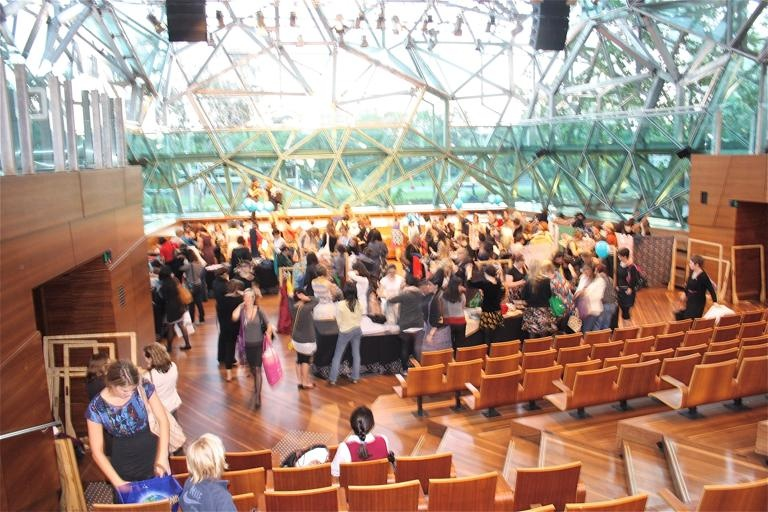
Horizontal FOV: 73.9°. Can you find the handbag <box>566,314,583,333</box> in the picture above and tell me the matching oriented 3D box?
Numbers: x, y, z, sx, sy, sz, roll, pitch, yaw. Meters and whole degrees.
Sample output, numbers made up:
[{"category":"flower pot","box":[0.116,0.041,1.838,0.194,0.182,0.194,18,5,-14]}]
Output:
[{"category":"handbag","box":[3.995,1.410,10.739,0.271,0.397,0.132,4,6,-4]}]

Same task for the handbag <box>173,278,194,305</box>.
[{"category":"handbag","box":[-4.831,0.848,12.265,0.289,0.713,0.337,-34,-3,15]}]

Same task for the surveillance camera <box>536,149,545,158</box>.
[{"category":"surveillance camera","box":[7.294,-4.771,23.876,0.191,0.382,0.539,-9,14,-30]}]

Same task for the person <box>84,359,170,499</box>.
[{"category":"person","box":[-2.943,1.889,5.865,0.813,1.442,0.642,-9,15,-30]}]

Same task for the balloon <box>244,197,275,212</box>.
[{"category":"balloon","box":[-4.398,-1.747,17.878,0.800,0.358,0.490,1,19,-23]}]

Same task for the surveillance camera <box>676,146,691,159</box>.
[{"category":"surveillance camera","box":[9.824,-3.395,16.830,0.372,0.392,0.595,-5,13,-16]}]
